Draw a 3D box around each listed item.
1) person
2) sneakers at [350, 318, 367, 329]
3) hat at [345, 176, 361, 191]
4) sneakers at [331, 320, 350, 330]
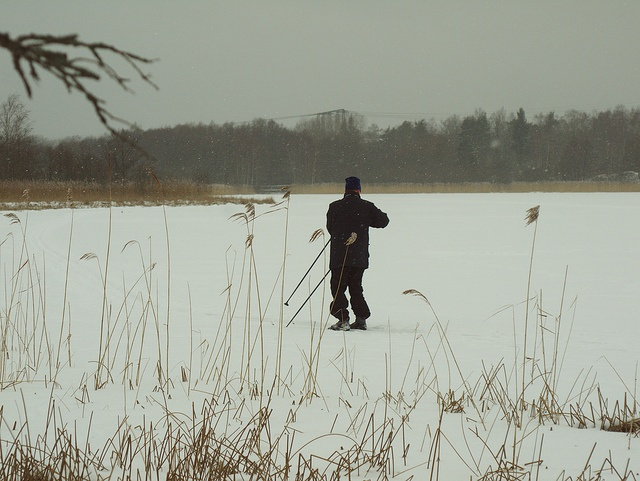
[{"bbox_3d":[0.573,0.214,19.492,0.933,2.725,0.551,1,1,-1],"label":"person"},{"bbox_3d":[0.702,1.471,19.596,0.309,0.269,0.141,5,1,14],"label":"sneakers"},{"bbox_3d":[0.601,-1.039,19.758,0.231,0.262,0.217,-5,14,-38],"label":"hat"},{"bbox_3d":[0.353,1.486,19.389,0.346,0.194,0.143,3,-7,-4],"label":"sneakers"}]
